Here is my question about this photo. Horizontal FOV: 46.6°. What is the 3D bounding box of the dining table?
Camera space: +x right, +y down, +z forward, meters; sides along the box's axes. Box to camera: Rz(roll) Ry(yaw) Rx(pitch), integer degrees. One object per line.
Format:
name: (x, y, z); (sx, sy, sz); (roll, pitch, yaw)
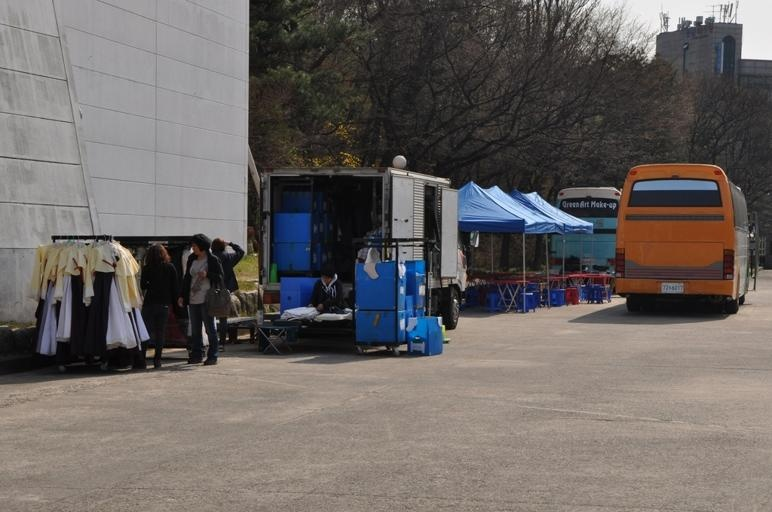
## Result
dining table: (5.457, 1.136, 28.898); (1.921, 0.910, 6.586); (-3, -1, 33)

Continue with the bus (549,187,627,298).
bus: (8.590, -0.849, 37.566); (3.230, 3.959, 6.798); (-1, 2, 14)

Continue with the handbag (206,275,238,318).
handbag: (-2.894, 0.673, 15.647); (0.455, 0.815, 0.242); (-2, 22, -4)

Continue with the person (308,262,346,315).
person: (-1.173, 0.684, 17.837); (0.688, 1.025, 0.795); (13, 21, 40)

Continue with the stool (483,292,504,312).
stool: (3.240, 1.406, 26.902); (0.523, 0.533, 0.545); (1, 0, 13)

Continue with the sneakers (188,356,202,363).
sneakers: (-3.383, 1.840, 15.795); (0.262, 0.130, 0.125); (-2, -1, 13)

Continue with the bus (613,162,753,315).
bus: (7.986, -0.521, 24.166); (2.480, 2.522, 5.433); (0, 5, 21)

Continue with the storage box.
storage box: (-0.229, 0.296, 19.036); (2.183, 2.534, 4.255); (1, 2, 20)

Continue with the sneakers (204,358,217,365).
sneakers: (-3.070, 1.847, 15.685); (0.163, 0.107, 0.104); (-3, 1, 18)

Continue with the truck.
truck: (-0.165, -0.111, 20.224); (3.023, 3.370, 6.171); (-1, 0, 19)

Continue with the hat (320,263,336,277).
hat: (-1.165, 0.284, 18.032); (0.217, 0.245, 0.298); (7, 12, 10)

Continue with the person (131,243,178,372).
person: (-3.969, 0.841, 15.864); (0.615, 2.095, 0.547); (-1, -1, -39)
